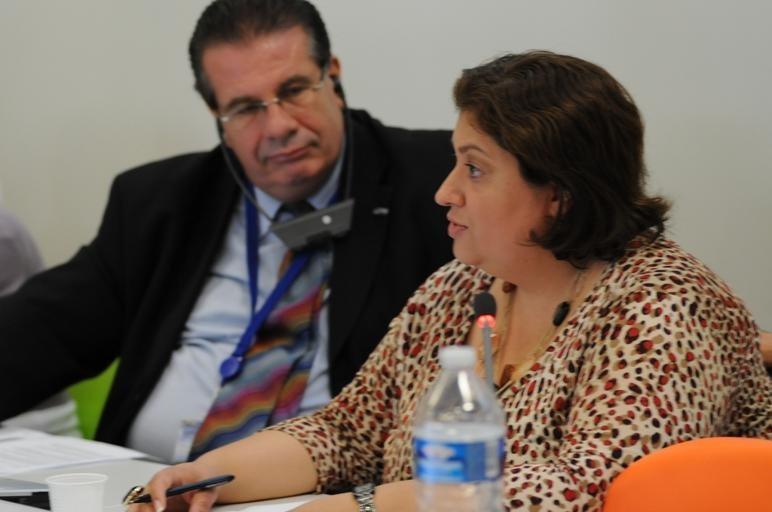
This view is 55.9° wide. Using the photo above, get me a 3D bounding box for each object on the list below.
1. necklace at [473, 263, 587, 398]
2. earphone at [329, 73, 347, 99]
[{"bbox_3d":[0.302,0.152,1.810,0.247,0.340,0.119,11,-24,33],"label":"necklace"},{"bbox_3d":[-0.171,-0.620,2.648,0.025,0.073,0.050,-25,12,-14],"label":"earphone"}]
